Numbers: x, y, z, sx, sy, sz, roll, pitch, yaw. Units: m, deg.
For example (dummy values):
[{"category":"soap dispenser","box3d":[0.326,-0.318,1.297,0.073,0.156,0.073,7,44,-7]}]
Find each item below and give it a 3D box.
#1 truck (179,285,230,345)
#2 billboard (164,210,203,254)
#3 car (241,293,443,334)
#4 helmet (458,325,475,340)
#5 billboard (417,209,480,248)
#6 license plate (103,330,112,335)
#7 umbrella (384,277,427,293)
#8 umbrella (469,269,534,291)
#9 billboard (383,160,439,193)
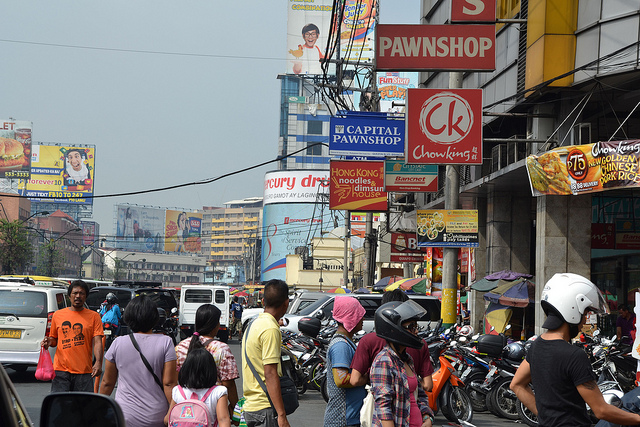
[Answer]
[{"category":"truck","box3d":[-5.069,4.307,41.124,2.418,2.415,4.238,3,-6,-7]},{"category":"billboard","box3d":[-31.764,4.277,223.702,5.255,9.375,12.906,-5,-10,28]},{"category":"car","box3d":[0.722,3.029,30.361,6.601,2.108,2.593,3,-6,-3]},{"category":"helmet","box3d":[3.574,2.914,23.629,0.273,0.325,0.330,-4,-12,44]},{"category":"billboard","box3d":[3.711,0.431,28.196,1.754,1.124,0.063,1,-12,11]},{"category":"license plate","box3d":[-5.643,3.175,25.743,0.159,0.115,0.652,0,-9,-5]},{"category":"umbrella","box3d":[3.470,2.776,37.457,1.240,0.647,2.589,-2,-9,6]},{"category":"umbrella","box3d":[5.732,2.140,31.020,1.569,0.668,1.123,2,-2,2]},{"category":"billboard","box3d":[3.245,-1.378,34.669,2.080,1.231,0.185,-1,12,-19]}]
